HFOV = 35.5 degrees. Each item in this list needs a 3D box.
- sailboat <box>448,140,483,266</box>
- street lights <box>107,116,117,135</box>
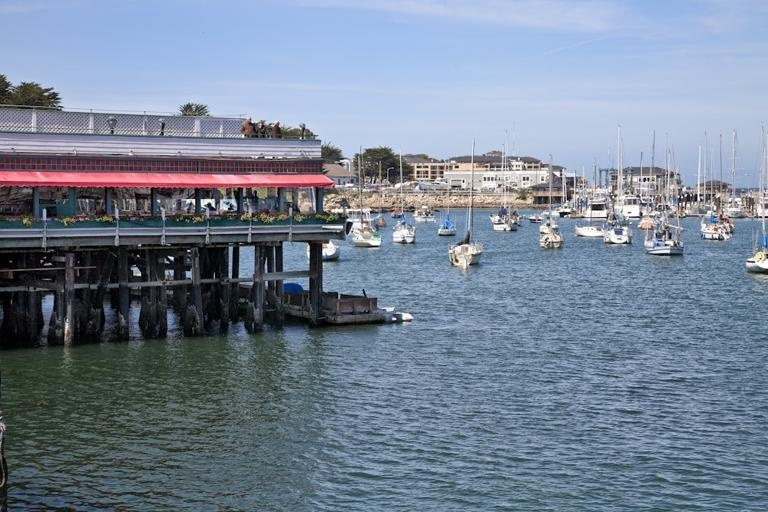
[{"bbox_3d":[9.135,-5.935,123.252,3.755,13.466,10.758,7,0,6],"label":"sailboat"},{"bbox_3d":[-16.244,-7.876,71.218,0.483,1.002,0.675,-2,4,4],"label":"street lights"}]
